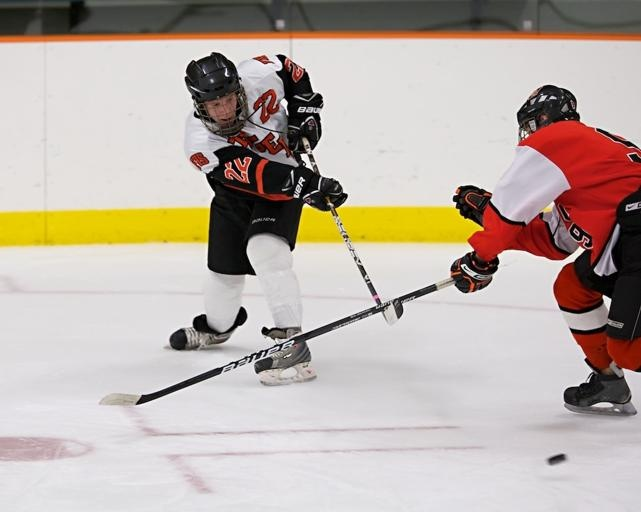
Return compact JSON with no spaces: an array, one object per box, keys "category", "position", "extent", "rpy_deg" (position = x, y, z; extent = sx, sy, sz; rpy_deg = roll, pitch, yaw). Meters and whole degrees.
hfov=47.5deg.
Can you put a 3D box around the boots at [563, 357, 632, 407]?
[{"category":"boots","position":[0.959,0.453,2.513],"extent":[0.100,0.135,0.267],"rpy_deg":[2,-8,-39]}]

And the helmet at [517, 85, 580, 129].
[{"category":"helmet","position":[0.827,-0.522,2.550],"extent":[0.239,0.152,0.158],"rpy_deg":[3,2,16]}]

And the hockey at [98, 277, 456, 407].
[{"category":"hockey","position":[-0.184,0.374,3.092],"extent":[1.644,0.069,0.150],"rpy_deg":[-12,0,-6]}]

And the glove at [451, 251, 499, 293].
[{"category":"glove","position":[0.522,0.056,2.542],"extent":[0.138,0.078,0.175],"rpy_deg":[37,-28,-5]}]

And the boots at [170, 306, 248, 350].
[{"category":"boots","position":[-0.538,0.342,3.261],"extent":[0.118,0.116,0.352],"rpy_deg":[27,11,30]}]

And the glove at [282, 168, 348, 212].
[{"category":"glove","position":[-0.017,-0.245,2.767],"extent":[0.266,0.085,0.133],"rpy_deg":[22,18,3]}]

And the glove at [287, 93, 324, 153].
[{"category":"glove","position":[-0.065,-0.568,3.109],"extent":[0.241,0.205,0.104],"rpy_deg":[-2,-1,8]}]

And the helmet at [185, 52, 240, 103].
[{"category":"helmet","position":[-0.412,-0.683,2.793],"extent":[0.206,0.196,0.207],"rpy_deg":[-1,14,-6]}]
